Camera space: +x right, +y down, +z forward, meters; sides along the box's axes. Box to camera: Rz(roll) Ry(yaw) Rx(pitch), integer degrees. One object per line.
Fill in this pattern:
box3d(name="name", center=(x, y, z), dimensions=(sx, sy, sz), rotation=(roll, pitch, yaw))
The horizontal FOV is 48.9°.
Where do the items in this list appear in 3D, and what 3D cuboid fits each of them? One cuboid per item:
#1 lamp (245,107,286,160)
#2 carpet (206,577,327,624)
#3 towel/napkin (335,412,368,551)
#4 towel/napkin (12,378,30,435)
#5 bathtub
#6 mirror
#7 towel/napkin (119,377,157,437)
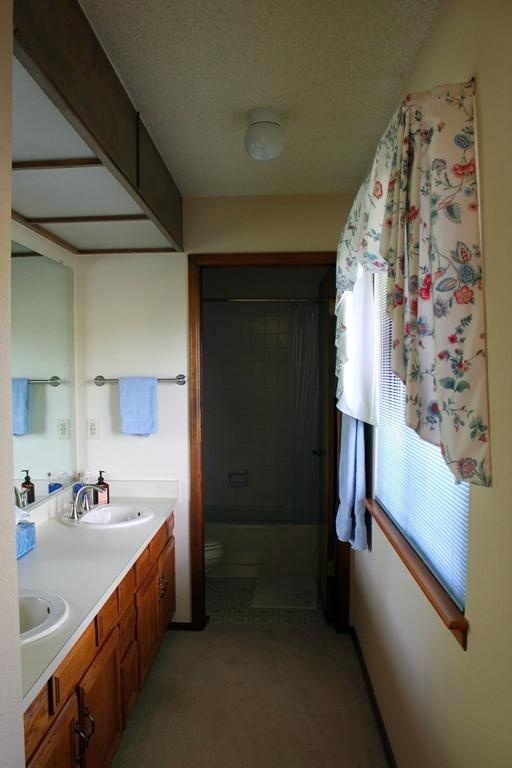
box3d(name="lamp", center=(0.025, -0.823, 1.849), dimensions=(0.107, 0.132, 0.122), rotation=(-1, 1, 4))
box3d(name="carpet", center=(0.021, 1.222, 3.217), dimensions=(0.645, 0.024, 0.701), rotation=(-1, 2, 1))
box3d(name="towel/napkin", center=(0.404, 0.412, 2.423), dimensions=(0.126, 0.558, 0.169), rotation=(0, 2, 11))
box3d(name="towel/napkin", center=(-0.850, 0.081, 2.041), dimensions=(0.049, 0.214, 0.185), rotation=(-1, -1, -4))
box3d(name="bathtub", center=(0.062, 1.034, 3.632), dimensions=(1.027, 0.387, 0.426), rotation=(1, 5, 3))
box3d(name="mirror", center=(-0.868, -0.036, 2.348), dimensions=(0.118, 1.001, 0.657), rotation=(-1, 2, -8))
box3d(name="towel/napkin", center=(-0.565, 0.103, 2.763), dimensions=(0.160, 0.286, 0.067), rotation=(0, 4, -4))
